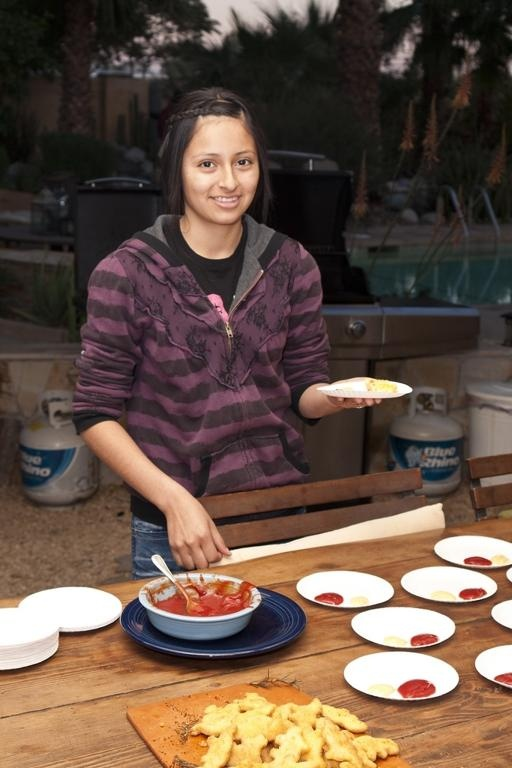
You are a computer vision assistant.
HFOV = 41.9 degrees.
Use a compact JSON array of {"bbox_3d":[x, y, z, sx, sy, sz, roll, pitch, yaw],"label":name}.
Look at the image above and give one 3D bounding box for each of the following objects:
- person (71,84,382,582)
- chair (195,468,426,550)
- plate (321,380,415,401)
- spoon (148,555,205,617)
[{"bbox_3d":[-0.017,-0.091,1.305,0.414,0.995,0.557,9,10,43],"label":"person"},{"bbox_3d":[0.096,0.259,1.387,0.454,0.147,0.136,-8,-36,-5],"label":"chair"},{"bbox_3d":[0.209,0.009,1.255,0.154,0.035,0.168,3,6,14],"label":"plate"},{"bbox_3d":[-0.113,0.268,0.910,0.037,0.112,0.017,-35,-8,-33],"label":"spoon"}]
